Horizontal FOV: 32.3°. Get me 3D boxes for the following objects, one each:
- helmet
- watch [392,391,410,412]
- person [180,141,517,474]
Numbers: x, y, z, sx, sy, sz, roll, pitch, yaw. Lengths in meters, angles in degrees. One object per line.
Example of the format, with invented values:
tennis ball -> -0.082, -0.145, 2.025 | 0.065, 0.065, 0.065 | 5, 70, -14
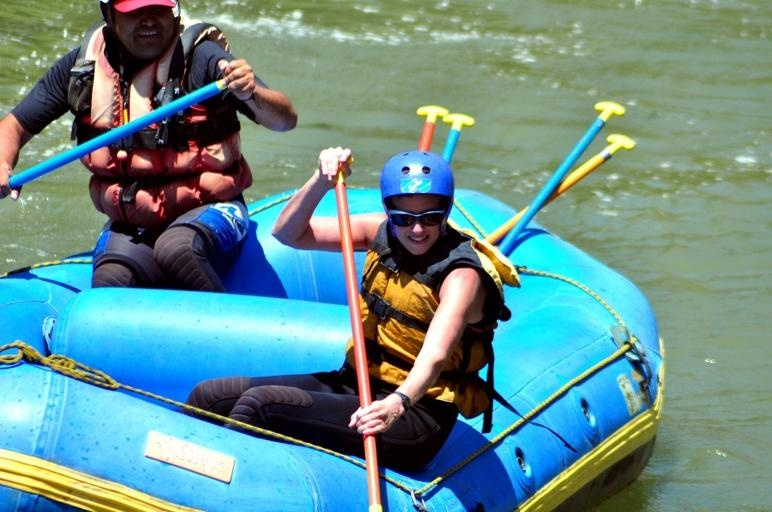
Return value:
helmet -> 0.158, -0.338, 6.996 | 0.432, 0.373, 0.441 | -4, 9, -14
watch -> 0.070, 0.723, 6.674 | 0.098, 0.104, 0.061 | 18, 32, 9
person -> -0.027, 0.300, 6.849 | 1.369, 1.516, 1.020 | 23, 33, 17
